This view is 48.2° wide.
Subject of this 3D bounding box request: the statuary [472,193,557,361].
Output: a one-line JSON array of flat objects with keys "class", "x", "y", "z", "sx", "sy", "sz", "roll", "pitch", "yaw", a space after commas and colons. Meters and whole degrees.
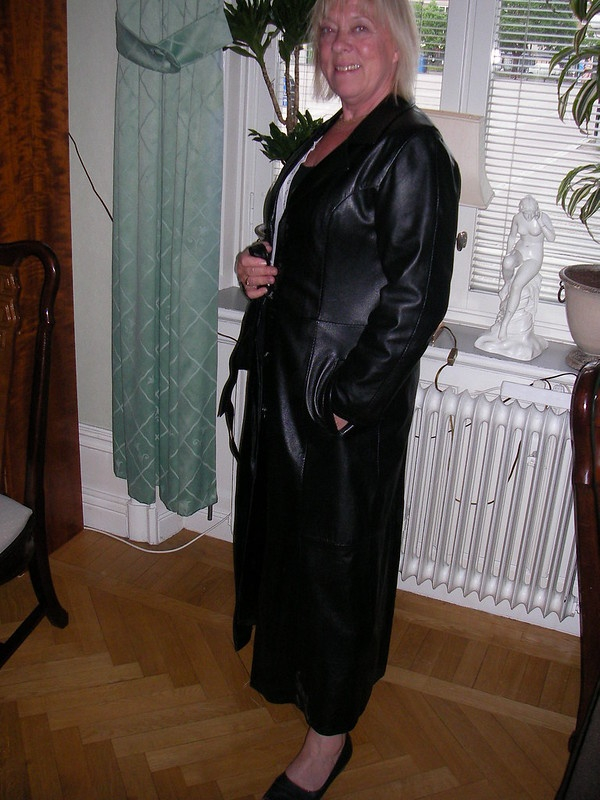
[{"class": "statuary", "x": 0.589, "y": -0.316, "z": 1.738, "sx": 0.196, "sy": 0.408, "sz": 0.141, "roll": -4, "pitch": 17, "yaw": -26}]
